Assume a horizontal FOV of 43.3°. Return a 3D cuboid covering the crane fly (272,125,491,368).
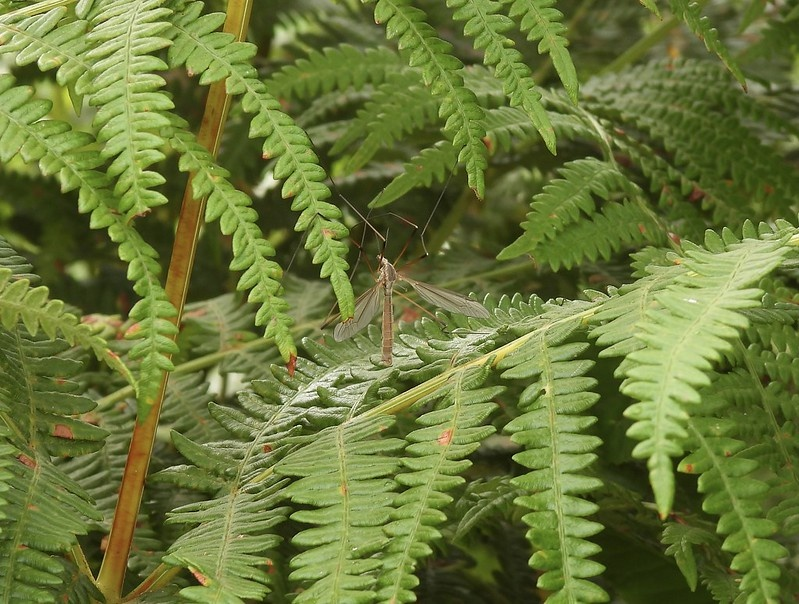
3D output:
[{"bbox_3d":[-0.034,-0.097,2.402,0.528,0.482,0.155,-1,-11,-9],"label":"crane fly"}]
